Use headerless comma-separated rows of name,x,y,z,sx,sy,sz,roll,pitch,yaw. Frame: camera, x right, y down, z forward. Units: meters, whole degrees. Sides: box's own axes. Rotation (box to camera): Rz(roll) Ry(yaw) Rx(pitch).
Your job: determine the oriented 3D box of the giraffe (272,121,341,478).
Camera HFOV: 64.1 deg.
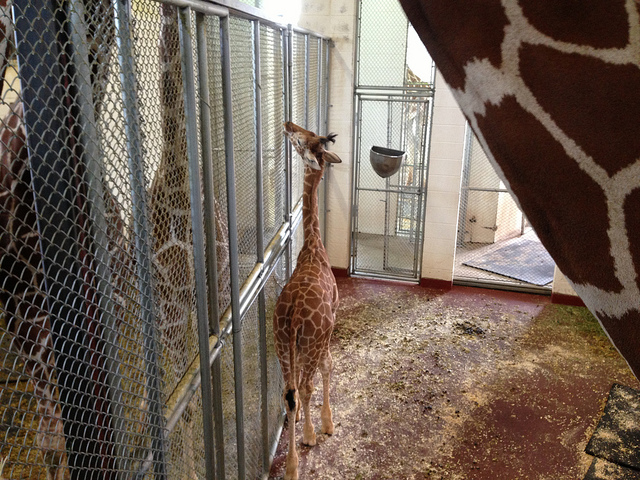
giraffe,-0.080,0.422,3.370,0.408,2.321,0.626,2,13,3
